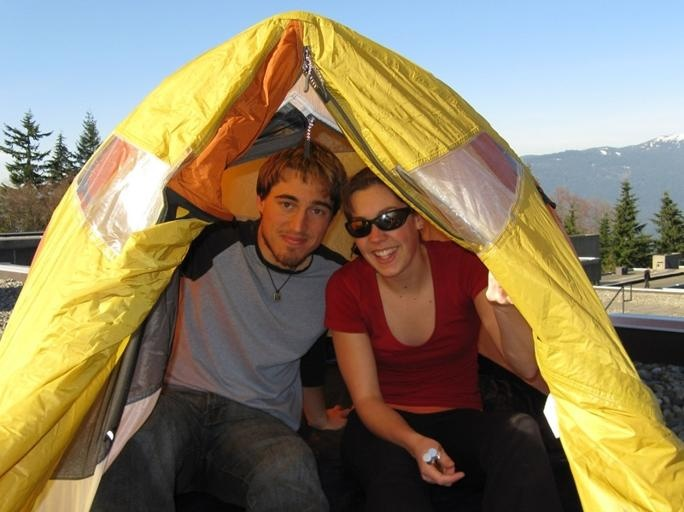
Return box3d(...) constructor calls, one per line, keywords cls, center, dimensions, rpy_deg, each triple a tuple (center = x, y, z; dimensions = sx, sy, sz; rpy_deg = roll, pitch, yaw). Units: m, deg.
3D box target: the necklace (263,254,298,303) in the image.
box3d(cls="necklace", center=(-0.360, 0.166, 3.348), dimensions=(0.155, 0.195, 0.059), rpy_deg=(10, 23, 17))
